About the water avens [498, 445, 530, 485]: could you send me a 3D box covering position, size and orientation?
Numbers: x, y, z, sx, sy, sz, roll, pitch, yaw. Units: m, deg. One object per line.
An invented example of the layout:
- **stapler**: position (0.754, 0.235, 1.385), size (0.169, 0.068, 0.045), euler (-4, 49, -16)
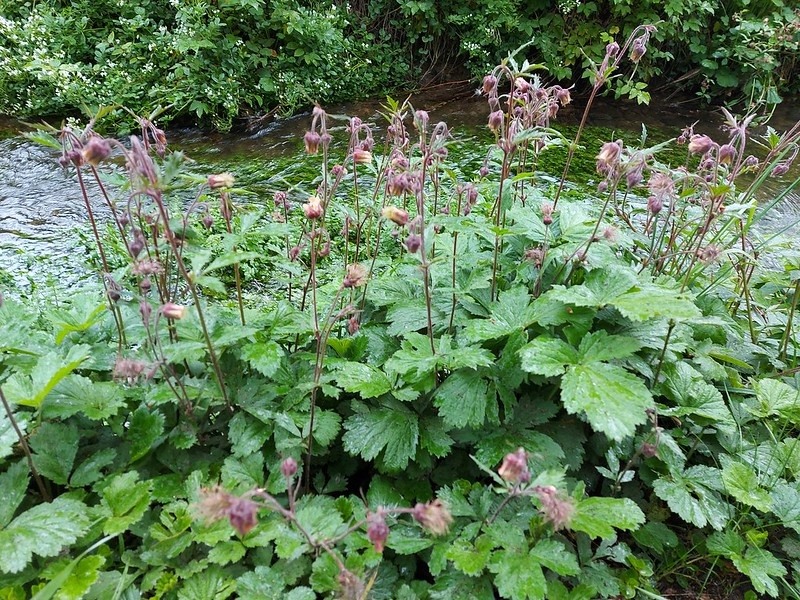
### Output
- **water avens**: position (0.583, 0.866, 3.227), size (0.176, 0.263, 0.073), euler (-3, 34, -18)

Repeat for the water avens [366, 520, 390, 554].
- **water avens**: position (-0.107, 1.114, 3.057), size (0.113, 0.190, 0.082), euler (-1, 32, 9)
